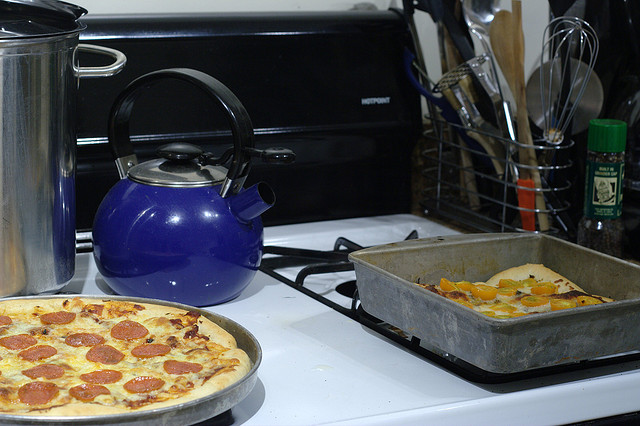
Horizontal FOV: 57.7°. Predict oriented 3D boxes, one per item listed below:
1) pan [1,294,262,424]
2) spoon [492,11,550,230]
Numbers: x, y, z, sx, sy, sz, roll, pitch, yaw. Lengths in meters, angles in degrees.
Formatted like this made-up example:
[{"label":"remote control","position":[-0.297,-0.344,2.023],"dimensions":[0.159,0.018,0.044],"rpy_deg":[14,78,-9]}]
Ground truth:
[{"label":"pan","position":[-0.249,0.191,0.781],"dimensions":[0.332,0.096,0.305],"rpy_deg":[-6,14,-8]},{"label":"spoon","position":[0.391,-0.175,1.211],"dimensions":[0.106,0.447,0.118],"rpy_deg":[-7,12,7]}]
